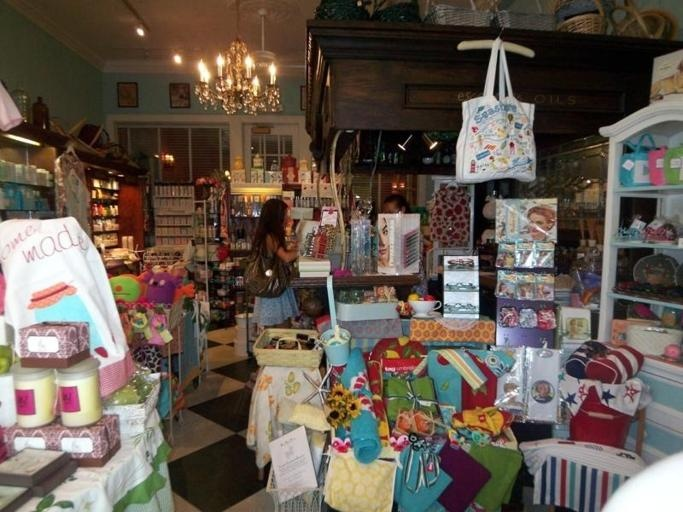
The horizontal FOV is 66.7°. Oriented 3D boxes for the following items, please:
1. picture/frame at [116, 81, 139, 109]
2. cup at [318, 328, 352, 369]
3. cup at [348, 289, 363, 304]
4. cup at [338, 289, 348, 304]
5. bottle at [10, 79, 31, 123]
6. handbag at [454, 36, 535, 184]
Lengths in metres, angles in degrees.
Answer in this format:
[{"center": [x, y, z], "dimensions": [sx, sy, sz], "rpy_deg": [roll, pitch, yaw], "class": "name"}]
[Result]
[{"center": [-3.457, -2.691, 8.529], "dimensions": [0.428, 0.541, 0.039], "rpy_deg": [0, 4, -7], "class": "picture/frame"}, {"center": [-0.046, 0.541, 3.091], "dimensions": [0.230, 0.231, 0.184], "rpy_deg": [-2, -2, -32], "class": "cup"}, {"center": [0.093, 0.249, 3.278], "dimensions": [0.074, 0.073, 0.074], "rpy_deg": [2, 2, 0], "class": "cup"}, {"center": [0.001, 0.248, 3.300], "dimensions": [0.064, 0.075, 0.065], "rpy_deg": [3, -6, 0], "class": "cup"}, {"center": [-3.522, -1.720, 5.819], "dimensions": [0.167, 0.379, 0.252], "rpy_deg": [2, 11, 3], "class": "bottle"}, {"center": [0.861, -0.823, 2.910], "dimensions": [0.437, 0.791, 0.258], "rpy_deg": [0, 11, -8], "class": "handbag"}]
